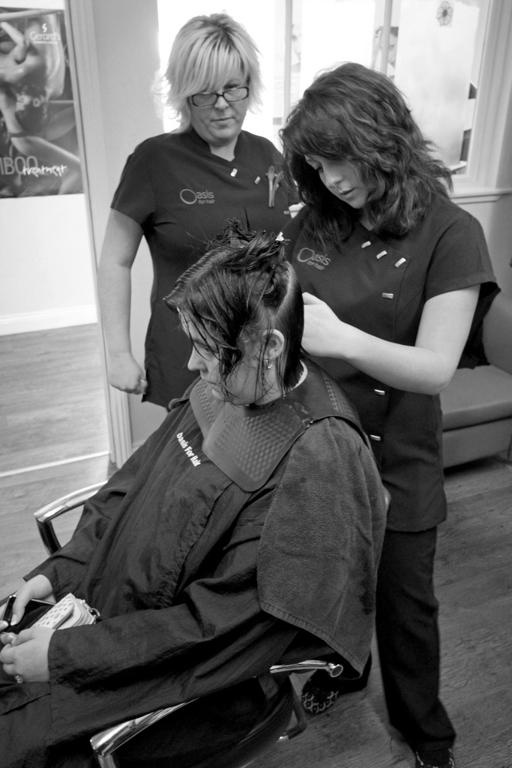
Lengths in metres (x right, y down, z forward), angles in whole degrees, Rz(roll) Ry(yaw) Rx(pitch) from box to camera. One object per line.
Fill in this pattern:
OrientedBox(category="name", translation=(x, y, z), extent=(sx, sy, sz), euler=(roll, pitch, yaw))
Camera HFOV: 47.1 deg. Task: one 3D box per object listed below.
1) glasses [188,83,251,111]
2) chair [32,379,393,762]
OrientedBox(category="glasses", translation=(-0.080, -0.638, 1.310), extent=(0.141, 0.053, 0.093), euler=(0, 27, -6))
OrientedBox(category="chair", translation=(-0.030, 0.252, 0.966), extent=(0.443, 0.528, 0.535), euler=(18, 17, -19))
